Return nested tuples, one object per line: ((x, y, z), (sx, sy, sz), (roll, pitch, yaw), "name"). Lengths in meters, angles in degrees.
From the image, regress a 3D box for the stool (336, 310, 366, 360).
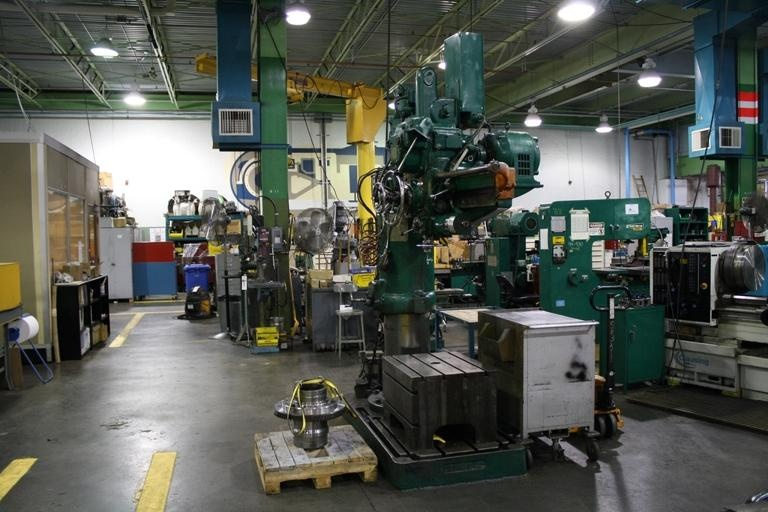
((-0.558, 1.219, 9.718), (0.484, 0.819, 0.702), (-2, 14, -4), "stool")

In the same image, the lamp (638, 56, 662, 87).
((5.802, -4.034, 12.933), (0.381, 0.602, 0.864), (5, 15, 25), "lamp")

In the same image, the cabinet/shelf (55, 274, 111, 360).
((-4.976, 1.015, 9.716), (0.431, 1.138, 1.307), (-1, 4, -15), "cabinet/shelf")

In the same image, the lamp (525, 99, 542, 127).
((4.008, -3.802, 15.953), (0.353, 0.564, 1.263), (2, 14, 15), "lamp")
